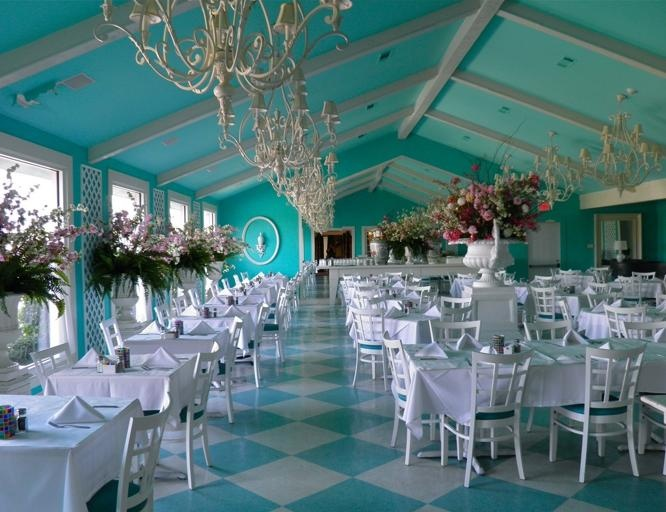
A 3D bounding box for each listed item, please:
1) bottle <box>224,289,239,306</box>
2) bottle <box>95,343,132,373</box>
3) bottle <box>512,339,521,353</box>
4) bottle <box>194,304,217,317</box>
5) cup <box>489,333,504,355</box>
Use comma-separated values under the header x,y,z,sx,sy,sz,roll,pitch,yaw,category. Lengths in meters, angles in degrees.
x,y,z,sx,sy,sz,roll,pitch,yaw,category
-1.719,0.684,8.496,0.270,0.169,0.430,0,-5,-3,bottle
-1.941,0.890,4.383,0.268,0.174,0.333,-4,5,-25,bottle
1.609,0.791,4.417,0.086,0.099,0.097,2,2,14,bottle
-1.726,0.743,6.790,0.204,0.095,0.273,0,-5,-4,bottle
1.509,0.774,4.462,0.177,0.169,0.103,2,0,-10,cup
